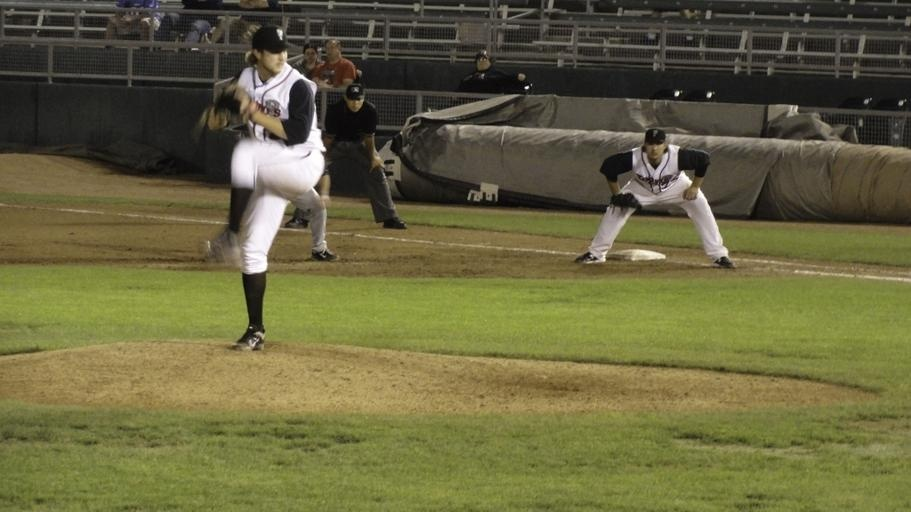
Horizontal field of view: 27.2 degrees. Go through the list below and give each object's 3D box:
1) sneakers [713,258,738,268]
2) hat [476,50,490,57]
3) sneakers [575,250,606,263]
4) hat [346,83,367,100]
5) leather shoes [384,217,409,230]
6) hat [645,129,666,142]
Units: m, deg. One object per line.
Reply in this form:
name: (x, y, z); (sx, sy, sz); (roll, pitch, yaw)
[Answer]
sneakers: (5.881, 0.121, 41.496); (0.381, 0.156, 0.228); (2, -2, -12)
hat: (0.604, -5.351, 49.587); (0.328, 0.115, 0.341); (-2, 8, -20)
sneakers: (2.911, -0.002, 41.628); (0.636, 0.215, 0.244); (3, 10, 0)
hat: (-2.305, -3.662, 41.931); (0.377, 0.323, 0.216); (3, 8, -14)
leather shoes: (-1.424, -0.779, 43.643); (0.546, 0.198, 0.227); (0, 24, 1)
hat: (4.229, -2.597, 40.589); (0.402, 0.294, 0.250); (6, 7, 7)
